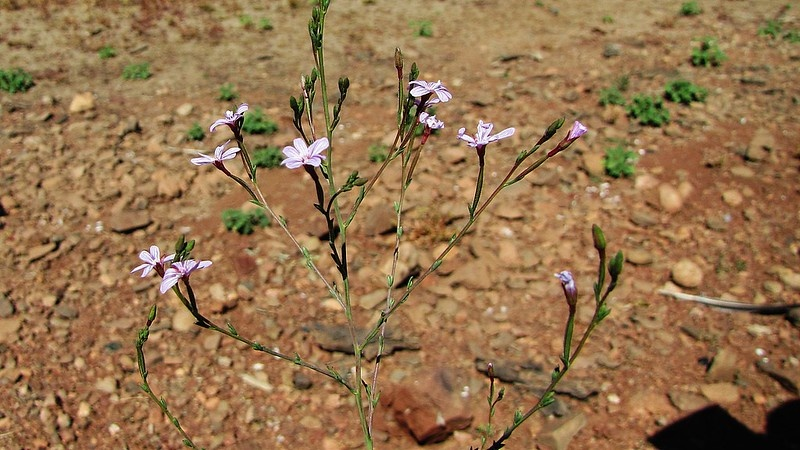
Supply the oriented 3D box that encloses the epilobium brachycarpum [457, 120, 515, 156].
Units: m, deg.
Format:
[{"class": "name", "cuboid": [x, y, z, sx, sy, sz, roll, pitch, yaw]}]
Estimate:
[{"class": "epilobium brachycarpum", "cuboid": [1.011, -1.006, 7.051, 0.366, 1.152, 0.704, 2, 93, -10]}]
